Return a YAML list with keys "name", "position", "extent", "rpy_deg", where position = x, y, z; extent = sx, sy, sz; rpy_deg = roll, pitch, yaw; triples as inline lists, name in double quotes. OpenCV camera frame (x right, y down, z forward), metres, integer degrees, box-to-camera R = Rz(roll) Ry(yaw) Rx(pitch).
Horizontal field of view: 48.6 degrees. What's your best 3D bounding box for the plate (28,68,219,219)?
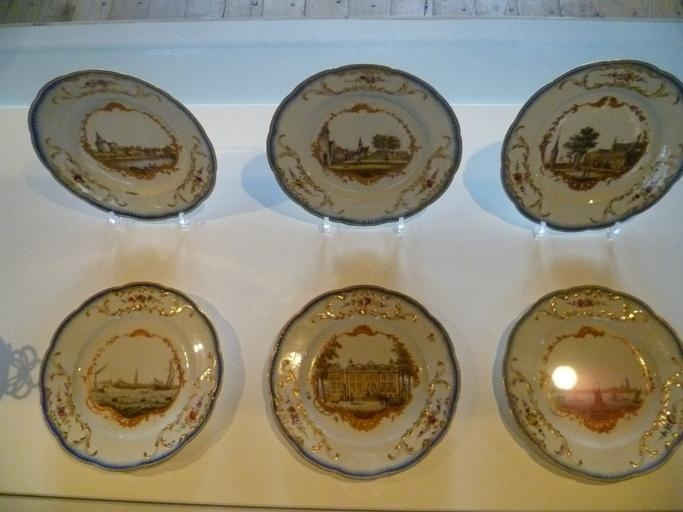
- name: "plate"
  position: [-0.969, -0.469, 3.301]
  extent: [0.779, 0.374, 0.469]
  rpy_deg: [6, -35, -7]
